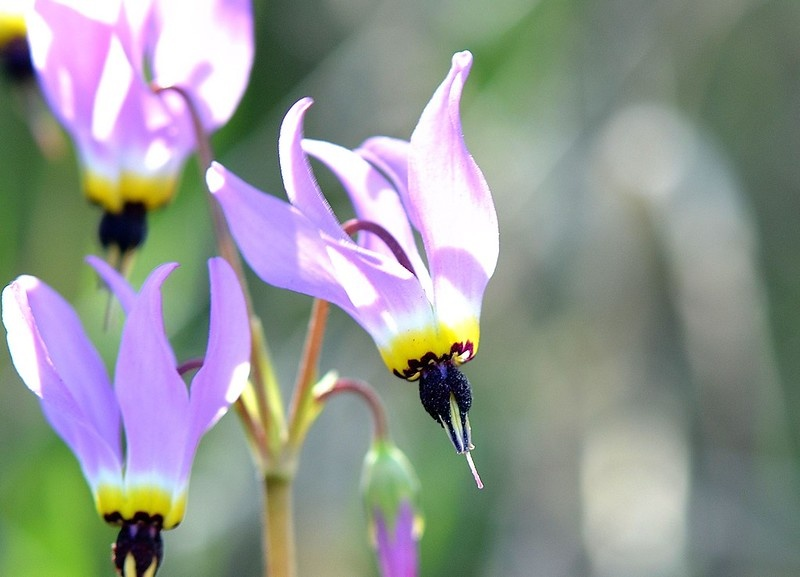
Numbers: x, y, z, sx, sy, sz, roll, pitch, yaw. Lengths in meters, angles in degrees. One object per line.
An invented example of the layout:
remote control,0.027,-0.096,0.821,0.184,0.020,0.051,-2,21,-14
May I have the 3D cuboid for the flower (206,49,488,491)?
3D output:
flower,0.007,-0.025,1.018,0.222,0.392,0.311,-5,-3,33
